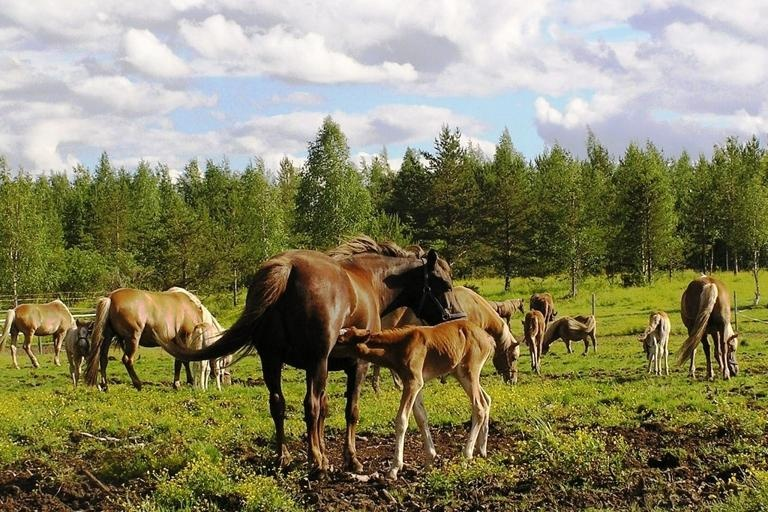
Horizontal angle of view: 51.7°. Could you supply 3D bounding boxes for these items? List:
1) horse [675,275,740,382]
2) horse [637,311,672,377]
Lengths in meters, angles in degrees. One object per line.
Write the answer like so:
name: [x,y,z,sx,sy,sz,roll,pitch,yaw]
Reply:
horse: [13.952,3.041,34.120,2.386,4.278,2.480,1,2,25]
horse: [12.116,3.837,35.337,1.051,2.610,2.639,1,1,19]
